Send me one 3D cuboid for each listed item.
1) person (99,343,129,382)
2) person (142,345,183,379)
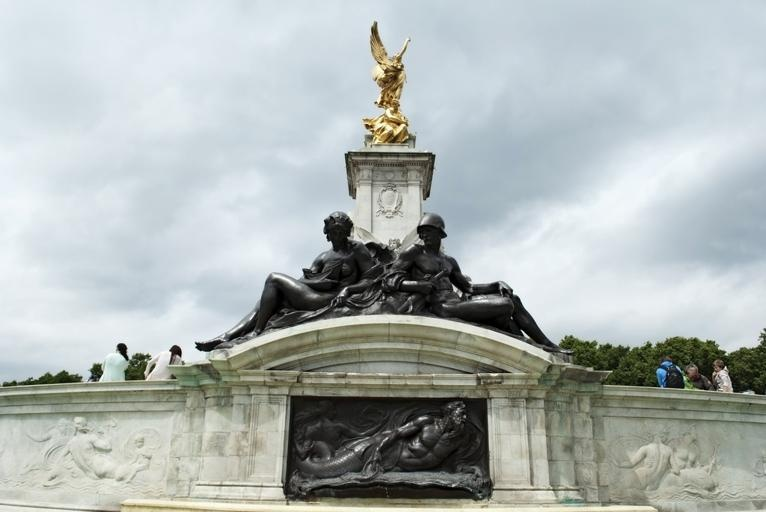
[{"bbox_3d":[-9.119,3.578,31.524,0.713,1.056,0.999,2,-1,-10],"label":"person"},{"bbox_3d":[-7.157,3.425,30.321,1.045,0.981,3.190,2,-2,-14],"label":"person"}]
